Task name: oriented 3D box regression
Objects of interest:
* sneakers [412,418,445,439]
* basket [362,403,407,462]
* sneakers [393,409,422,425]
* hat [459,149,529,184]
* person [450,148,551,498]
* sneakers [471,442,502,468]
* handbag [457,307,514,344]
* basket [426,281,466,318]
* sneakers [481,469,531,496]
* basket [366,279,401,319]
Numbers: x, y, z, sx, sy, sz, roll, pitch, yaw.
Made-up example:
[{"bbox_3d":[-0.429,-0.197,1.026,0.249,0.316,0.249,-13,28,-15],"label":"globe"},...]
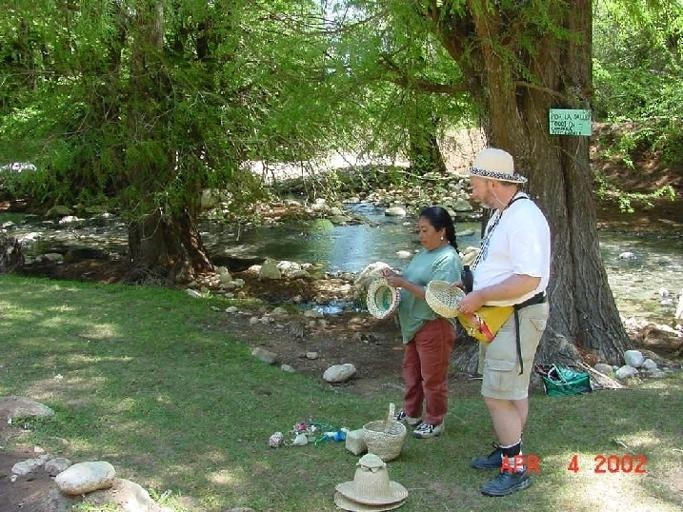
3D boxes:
[{"bbox_3d":[0.688,1.398,4.233,0.290,0.104,0.098,0,-8,-24],"label":"sneakers"},{"bbox_3d":[0.336,1.294,3.869,0.279,0.281,0.263,19,12,25],"label":"basket"},{"bbox_3d":[0.559,1.373,4.456,0.238,0.097,0.096,11,12,7],"label":"sneakers"},{"bbox_3d":[1.022,-0.581,3.481,0.313,0.103,0.268,12,10,22],"label":"hat"},{"bbox_3d":[1.061,0.420,3.470,0.750,2.224,0.478,12,10,25],"label":"person"},{"bbox_3d":[1.029,1.430,3.735,0.279,0.144,0.120,1,1,0],"label":"sneakers"},{"bbox_3d":[0.939,0.457,3.526,0.254,0.115,0.290,-9,-1,-9],"label":"handbag"},{"bbox_3d":[0.713,0.319,3.767,0.271,0.078,0.310,43,50,15],"label":"basket"},{"bbox_3d":[1.072,1.477,3.444,0.351,0.139,0.131,-11,24,-6],"label":"sneakers"},{"bbox_3d":[0.343,0.363,4.425,0.345,0.308,0.134,20,7,37],"label":"basket"}]
